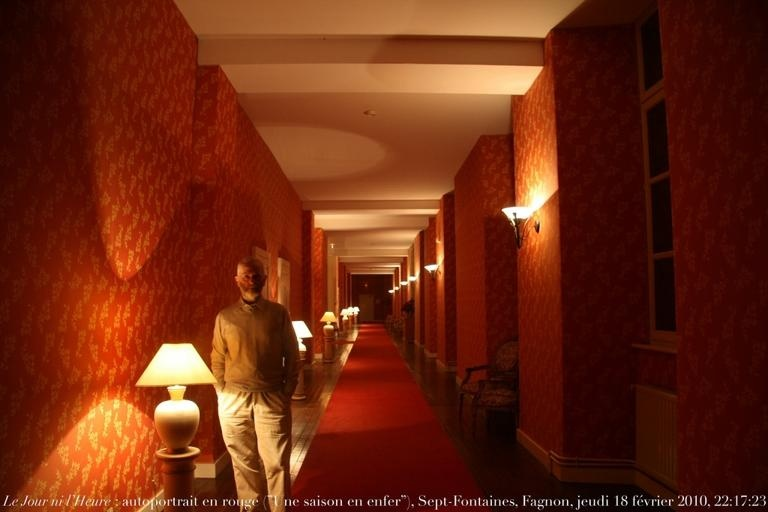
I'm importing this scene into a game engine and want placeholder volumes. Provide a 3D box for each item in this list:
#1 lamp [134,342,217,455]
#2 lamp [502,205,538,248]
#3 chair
[{"bbox_3d":[-1.632,1.215,4.805,0.748,1.076,0.747,-4,-14,3],"label":"lamp"},{"bbox_3d":[1.660,-0.371,6.854,0.417,0.531,0.415,-1,-1,1],"label":"lamp"},{"bbox_3d":[1.446,1.832,7.973,0.964,1.748,1.182,4,-7,-11],"label":"chair"}]
